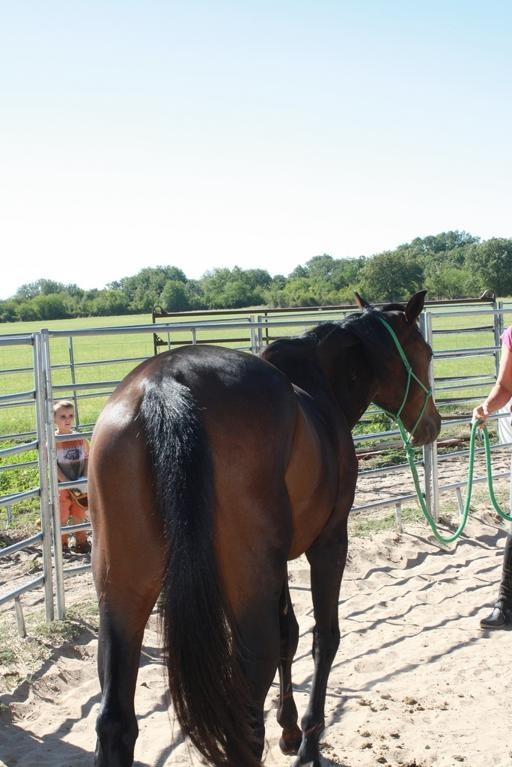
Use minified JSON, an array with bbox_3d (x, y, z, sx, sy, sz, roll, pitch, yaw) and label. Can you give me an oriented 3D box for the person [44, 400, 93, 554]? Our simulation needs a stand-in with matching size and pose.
[{"bbox_3d":[-1.544,0.814,5.180,0.447,1.432,0.359,5,19,6],"label":"person"}]
